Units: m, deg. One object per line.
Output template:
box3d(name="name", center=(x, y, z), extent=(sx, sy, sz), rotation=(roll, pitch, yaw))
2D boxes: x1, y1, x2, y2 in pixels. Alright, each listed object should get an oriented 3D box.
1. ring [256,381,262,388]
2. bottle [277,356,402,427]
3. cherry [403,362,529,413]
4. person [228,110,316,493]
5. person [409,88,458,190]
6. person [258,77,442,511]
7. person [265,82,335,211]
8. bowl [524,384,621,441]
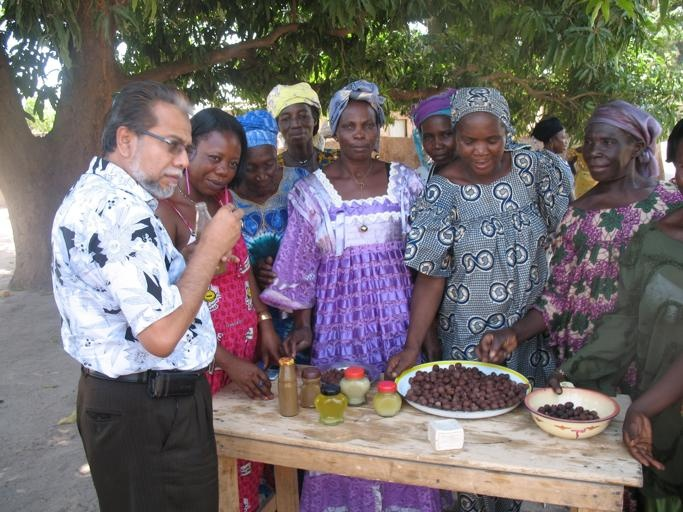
box3d(name="ring", center=(-0.455, 0.713, 3.219), extent=(0.036, 0.034, 0.007), rotation=(-2, 9, -7))
box3d(name="bottle", center=(-0.008, 0.741, 3.103), extent=(0.378, 0.253, 0.634), rotation=(5, 9, 37))
box3d(name="cherry", center=(0.654, 0.710, 3.073), extent=(0.401, 0.161, 0.545), rotation=(4, 6, 39))
box3d(name="person", center=(-0.465, 0.209, 4.195), extent=(0.640, 2.337, 0.721), rotation=(-2, 16, -11))
box3d(name="person", center=(0.679, -0.859, 4.229), extent=(0.308, 0.749, 0.323), rotation=(0, 12, 10))
box3d(name="person", center=(-0.108, 0.305, 3.810), extent=(1.078, 2.920, 1.071), rotation=(3, 11, -1))
box3d(name="person", center=(-0.347, -0.907, 4.787), extent=(0.482, 0.949, 0.450), rotation=(1, 13, -2))
box3d(name="bowl", center=(1.150, 0.769, 2.892), extent=(0.295, 0.110, 0.291), rotation=(-2, 10, 0))
